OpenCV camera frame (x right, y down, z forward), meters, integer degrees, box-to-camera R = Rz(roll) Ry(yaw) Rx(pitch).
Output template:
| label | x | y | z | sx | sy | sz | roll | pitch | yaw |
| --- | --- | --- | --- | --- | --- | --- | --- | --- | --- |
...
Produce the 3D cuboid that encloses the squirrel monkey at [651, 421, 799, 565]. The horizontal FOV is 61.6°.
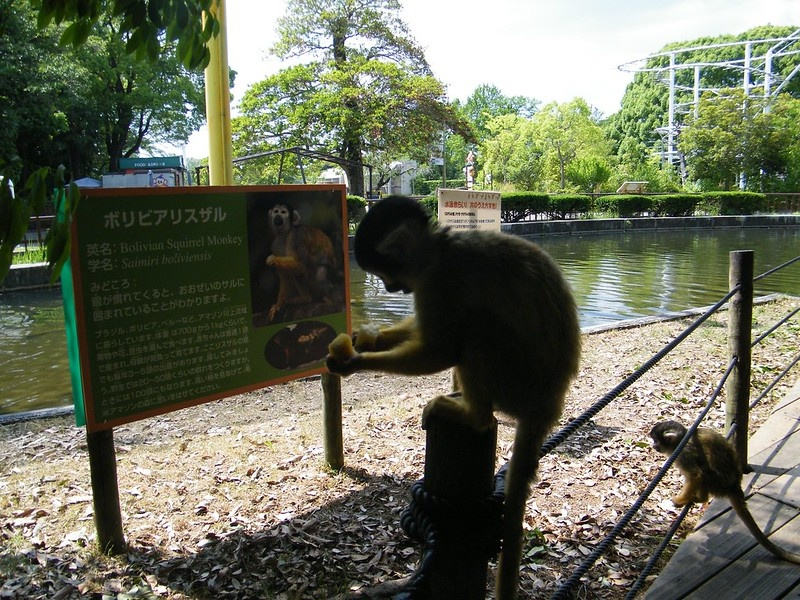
| label | x | y | z | sx | sy | sz | roll | pitch | yaw |
| --- | --- | --- | --- | --- | --- | --- | --- | --- | --- |
| squirrel monkey | 2.180 | 1.282 | 4.509 | 0.311 | 0.667 | 1.049 | -5 | 10 | -15 |
